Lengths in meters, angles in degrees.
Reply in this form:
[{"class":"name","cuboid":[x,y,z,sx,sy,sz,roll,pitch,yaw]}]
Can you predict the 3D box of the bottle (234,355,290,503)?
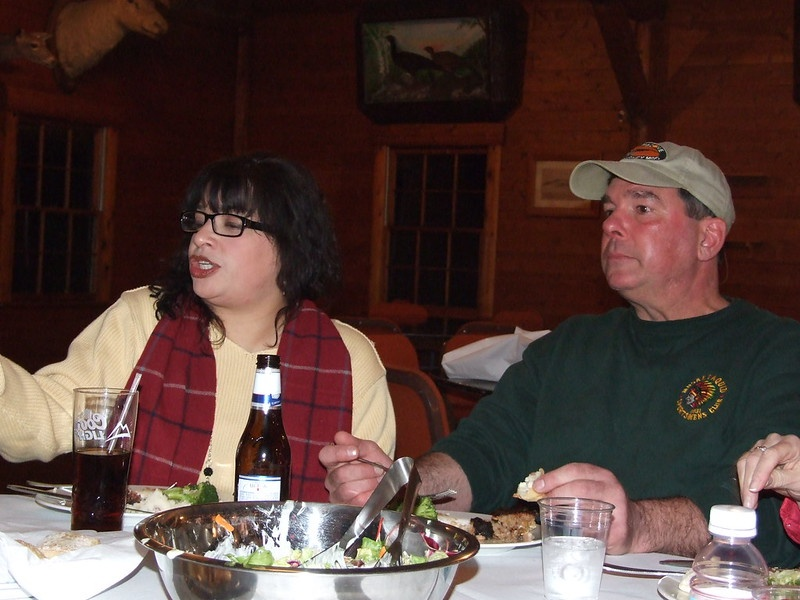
[{"class":"bottle","cuboid":[-0.227,0.220,1.201,0.094,0.256,0.257,2,-4,-12]}]
